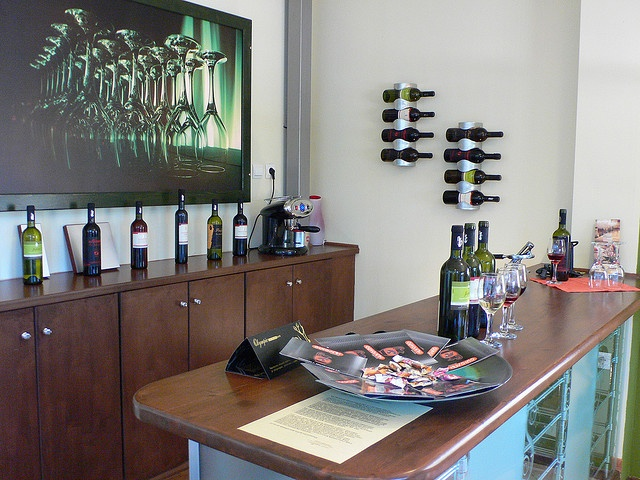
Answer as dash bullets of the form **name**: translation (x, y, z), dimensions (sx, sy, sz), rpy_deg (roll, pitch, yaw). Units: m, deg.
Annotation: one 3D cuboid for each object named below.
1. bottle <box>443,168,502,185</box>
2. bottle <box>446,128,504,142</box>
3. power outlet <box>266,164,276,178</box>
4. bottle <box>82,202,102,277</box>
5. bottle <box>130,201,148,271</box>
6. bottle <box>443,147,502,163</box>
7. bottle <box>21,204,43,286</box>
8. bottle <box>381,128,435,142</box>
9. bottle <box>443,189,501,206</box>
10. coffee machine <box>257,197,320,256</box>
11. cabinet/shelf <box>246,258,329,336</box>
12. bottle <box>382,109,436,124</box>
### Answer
- **bottle**: translation (1.083, -0.453, 3.753), dimensions (0.390, 0.141, 0.138), rpy_deg (8, -15, 23)
- **bottle**: translation (1.083, -0.782, 3.756), dimensions (0.406, 0.136, 0.132), rpy_deg (8, 24, 25)
- **power outlet**: translation (-0.404, -0.555, 4.238), dimensions (0.053, 0.109, 0.101), rpy_deg (5, 7, 39)
- **bottle**: translation (-1.272, -0.002, 2.918), dimensions (0.096, 0.396, 0.066), rpy_deg (-5, 12, -25)
- **bottle**: translation (-1.100, -0.037, 3.172), dimensions (0.097, 0.402, 0.188), rpy_deg (-4, 11, -22)
- **bottle**: translation (1.060, -0.602, 3.730), dimensions (0.412, 0.137, 0.134), rpy_deg (9, 18, 22)
- **bottle**: translation (-1.495, 0.024, 2.720), dimensions (0.098, 0.402, 0.094), rpy_deg (0, 10, 0)
- **bottle**: translation (0.660, -0.795, 3.991), dimensions (0.392, 0.104, 0.163), rpy_deg (2, 11, 11)
- **bottle**: translation (1.095, -0.308, 3.826), dimensions (0.395, 0.142, 0.135), rpy_deg (8, 2, 24)
- **coffee machine**: translation (-0.227, -0.116, 3.892), dimensions (0.461, 0.461, 0.285), rpy_deg (7, 13, 39)
- **cabinet/shelf**: translation (-0.246, 0.364, 3.510), dimensions (0.190, 0.499, 0.503), rpy_deg (3, 5, 44)
- **bottle**: translation (0.666, -0.942, 3.978), dimensions (0.396, 0.104, 0.098), rpy_deg (5, 12, 23)
